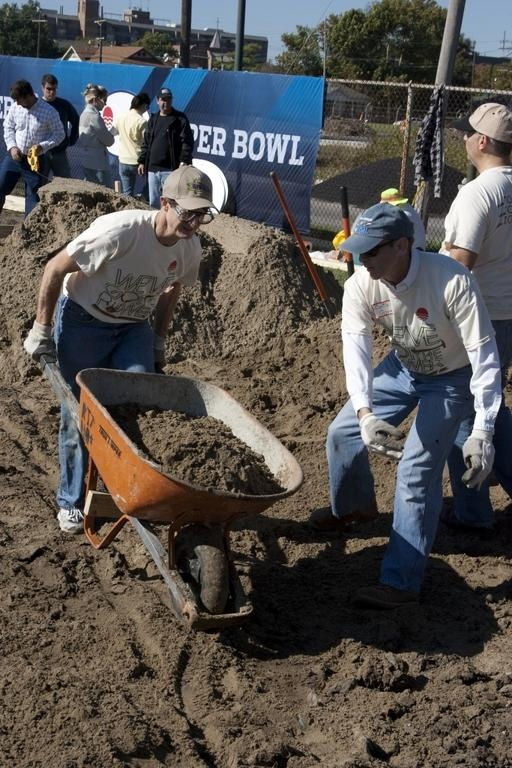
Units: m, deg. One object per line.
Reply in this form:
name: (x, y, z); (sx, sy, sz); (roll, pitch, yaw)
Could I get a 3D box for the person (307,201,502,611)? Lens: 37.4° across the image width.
person: (0.658, 0.124, 3.247); (0.654, 1.719, 0.893); (-12, 26, -37)

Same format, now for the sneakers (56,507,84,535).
sneakers: (-0.992, 0.740, 4.041); (0.100, 0.118, 0.204); (4, 26, -19)

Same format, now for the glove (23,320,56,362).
glove: (-1.086, -0.214, 3.823); (0.155, 0.200, 0.194); (1, 59, -7)

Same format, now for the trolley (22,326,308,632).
trolley: (-0.303, 0.446, 3.298); (0.788, 0.795, 1.122); (-4, 21, -21)

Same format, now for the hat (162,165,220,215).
hat: (-0.299, -0.853, 3.354); (0.181, 0.137, 0.255); (-5, 36, -42)

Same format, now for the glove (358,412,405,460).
glove: (0.497, 0.217, 3.078); (0.142, 0.075, 0.214); (31, -2, -11)

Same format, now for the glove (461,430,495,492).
glove: (0.857, 0.305, 2.967); (0.130, 0.214, 0.101); (4, 0, 1)

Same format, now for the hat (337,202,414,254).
hat: (0.475, -0.639, 3.021); (0.326, 0.164, 0.207); (-16, 29, -17)
